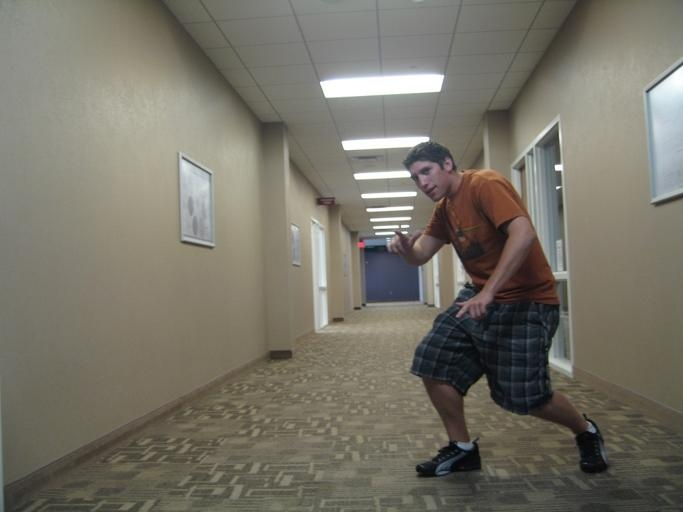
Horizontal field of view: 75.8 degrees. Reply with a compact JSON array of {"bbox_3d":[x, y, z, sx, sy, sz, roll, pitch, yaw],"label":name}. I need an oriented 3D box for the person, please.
[{"bbox_3d":[0.845,0.320,2.635,1.109,2.052,0.743,-3,-3,26],"label":"person"}]

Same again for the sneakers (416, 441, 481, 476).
[{"bbox_3d":[0.674,1.268,2.772,0.462,0.224,0.171,0,-10,-12],"label":"sneakers"}]
